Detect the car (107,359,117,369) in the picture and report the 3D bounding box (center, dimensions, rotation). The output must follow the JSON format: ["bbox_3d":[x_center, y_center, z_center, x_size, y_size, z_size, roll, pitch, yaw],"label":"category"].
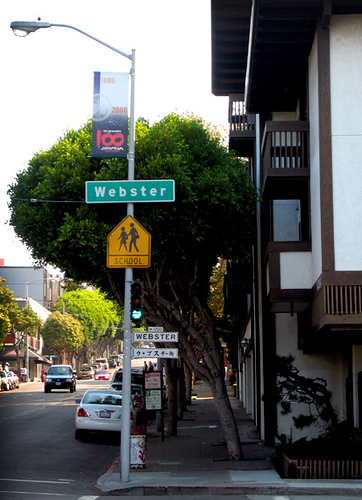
[{"bbox_3d":[-10.142,16.699,110.502,1.442,1.398,2.736,1,-18,-3],"label":"car"}]

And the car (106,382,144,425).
[{"bbox_3d":[-1.677,4.931,24.416,1.062,0.999,2.690,1,-9,0],"label":"car"}]

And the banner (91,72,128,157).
[{"bbox_3d":[-1.235,-2.360,13.181,0.614,1.478,0.258,-1,-4,-2],"label":"banner"}]

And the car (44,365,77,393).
[{"bbox_3d":[-7.491,7.965,46.396,1.870,1.590,2.559,0,-6,-11],"label":"car"}]

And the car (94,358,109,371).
[{"bbox_3d":[-10.069,14.536,97.109,1.144,1.283,2.275,-1,-22,-2],"label":"car"}]

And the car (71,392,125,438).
[{"bbox_3d":[-2.152,4.189,19.883,1.179,0.993,2.797,1,-4,-3],"label":"car"}]

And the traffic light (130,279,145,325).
[{"bbox_3d":[-0.784,0.893,13.380,0.229,0.734,0.727,-1,-5,-3],"label":"traffic light"}]

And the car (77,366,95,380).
[{"bbox_3d":[-9.535,12.222,74.794,0.926,0.899,1.685,3,2,-12],"label":"car"}]
